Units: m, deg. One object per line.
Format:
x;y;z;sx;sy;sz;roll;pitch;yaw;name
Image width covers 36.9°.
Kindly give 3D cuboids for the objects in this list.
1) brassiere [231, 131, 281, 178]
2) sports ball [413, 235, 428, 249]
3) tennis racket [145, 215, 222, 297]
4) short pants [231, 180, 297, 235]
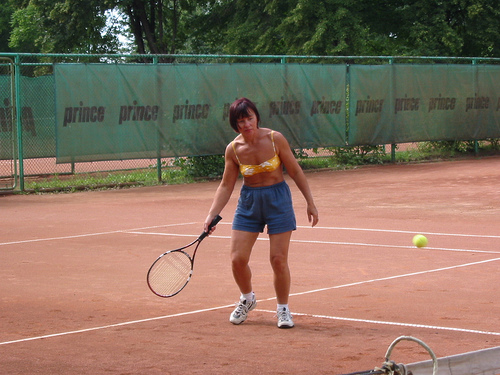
0.091;-0.308;8.408;0.489;0.505;0.228;-17;-14;1;brassiere
2.426;0.790;10.809;0.183;0.230;0.313;1;9;11;sports ball
-0.682;0.699;8.246;0.546;0.111;1.545;10;-45;-27;tennis racket
0.183;0.204;8.455;0.699;0.586;0.412;2;11;30;short pants
